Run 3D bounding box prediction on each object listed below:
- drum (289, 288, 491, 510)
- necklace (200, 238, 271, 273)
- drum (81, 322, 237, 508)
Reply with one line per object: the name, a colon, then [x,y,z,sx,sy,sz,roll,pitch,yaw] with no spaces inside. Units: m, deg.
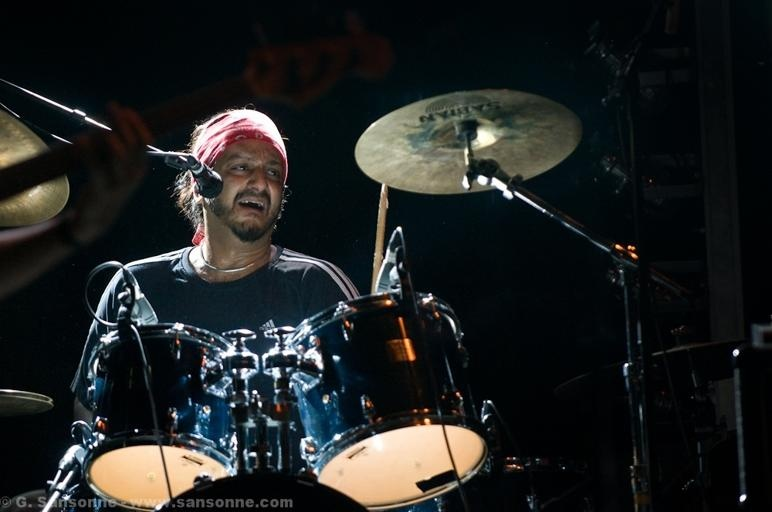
drum: [-0.099,0.637,4.133,1.092,0.795,1.064,-6,-50,-7]
necklace: [-0.932,0.041,4.809,0.247,0.062,0.255,-27,-25,36]
drum: [-1.110,0.793,3.883,0.718,0.869,0.464,-2,-16,-6]
